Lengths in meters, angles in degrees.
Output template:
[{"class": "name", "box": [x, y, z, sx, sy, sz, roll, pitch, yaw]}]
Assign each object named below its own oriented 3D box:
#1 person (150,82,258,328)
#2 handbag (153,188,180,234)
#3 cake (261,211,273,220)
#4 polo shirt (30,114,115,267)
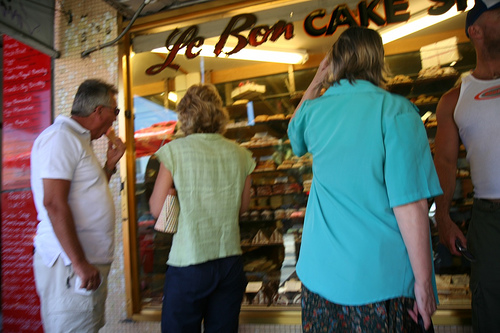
[{"class": "person", "box": [-0.400, 0.322, 3.873, 0.849, 2.083, 0.355, -1, -9, -13]}, {"class": "handbag", "box": [-0.674, 0.349, 3.762, 0.162, 0.297, 0.304, 10, -9, 4]}, {"class": "cake", "box": [0.188, 0.551, 5.204, 0.096, 0.093, 0.166, 0, 6, -18]}, {"class": "polo shirt", "box": [-1.437, 0.181, 3.765, 0.643, 1.257, 0.336, 1, -9, -27]}]
